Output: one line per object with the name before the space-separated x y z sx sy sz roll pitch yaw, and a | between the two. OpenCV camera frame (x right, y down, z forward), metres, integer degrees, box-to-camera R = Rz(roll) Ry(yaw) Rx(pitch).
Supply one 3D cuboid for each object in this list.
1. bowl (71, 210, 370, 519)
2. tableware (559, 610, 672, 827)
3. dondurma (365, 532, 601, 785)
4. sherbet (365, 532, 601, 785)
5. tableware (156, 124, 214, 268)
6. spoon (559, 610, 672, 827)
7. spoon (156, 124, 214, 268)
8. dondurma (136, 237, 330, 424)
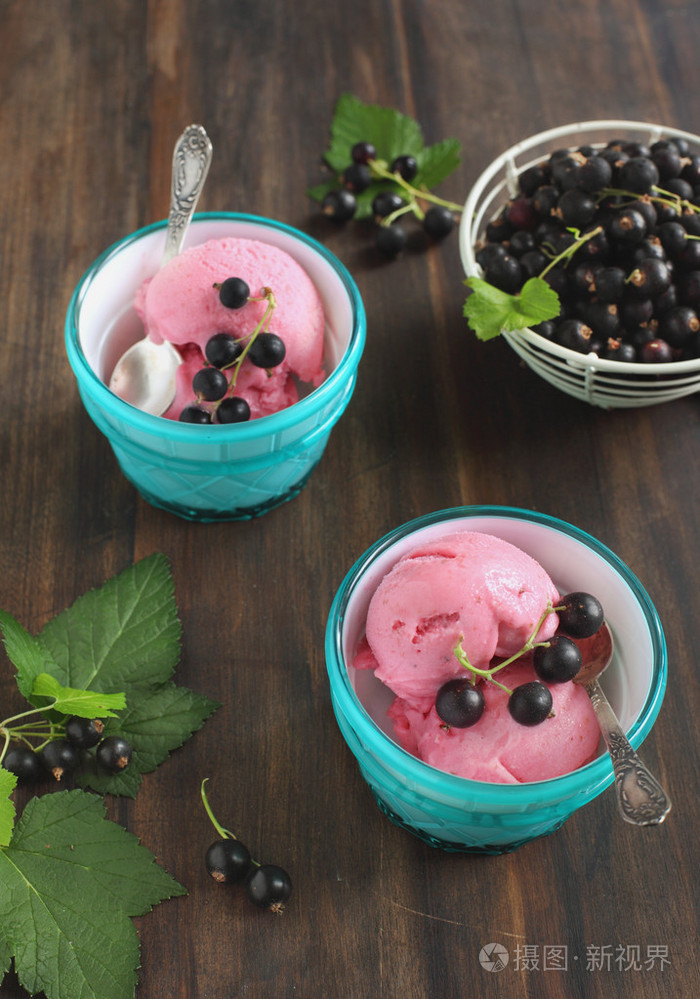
bowl | -0.123 -0.131 1.231 0.351 0.219 0.308 5 60 0
tableware | 0.215 0.174 0.939 0.057 0.027 0.232 -12 31 2
dondurma | 0.110 0.132 0.917 0.192 0.093 0.186 -1 78 0
sherbet | 0.102 0.130 0.868 0.192 0.093 0.186 -1 78 0
tableware | -0.162 -0.317 1.168 0.037 0.024 0.162 14 87 8
spoon | 0.213 0.171 0.935 0.057 0.027 0.232 -12 31 2
spoon | -0.166 -0.319 1.171 0.037 0.024 0.162 14 87 8
dondurma | -0.115 -0.185 1.182 0.184 0.117 0.191 24 64 -2
